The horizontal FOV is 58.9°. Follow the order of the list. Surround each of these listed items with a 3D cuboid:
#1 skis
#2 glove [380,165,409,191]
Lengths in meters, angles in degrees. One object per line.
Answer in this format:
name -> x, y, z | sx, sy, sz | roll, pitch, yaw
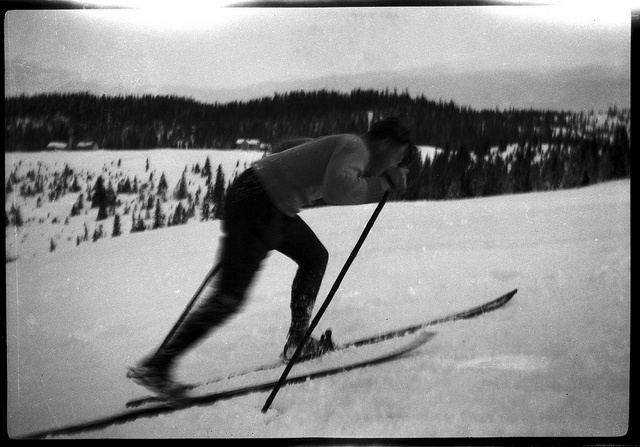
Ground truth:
skis -> -0.176, 0.687, 2.806 | 2.031, 0.242, 0.139 | -14, 42, -10
glove -> 0.363, -0.208, 2.752 | 0.128, 0.123, 0.123 | 2, 5, 7
